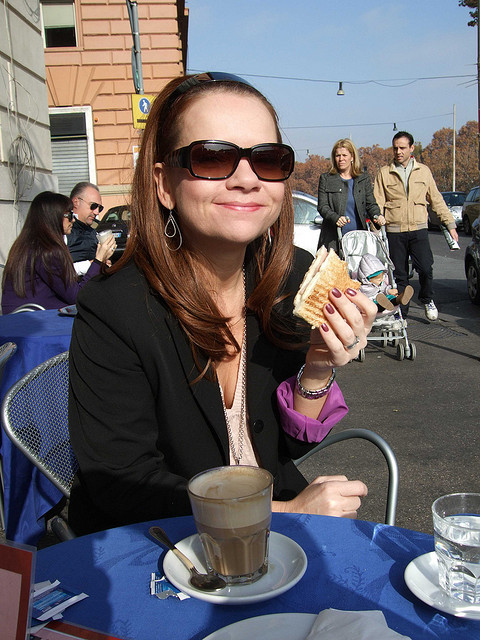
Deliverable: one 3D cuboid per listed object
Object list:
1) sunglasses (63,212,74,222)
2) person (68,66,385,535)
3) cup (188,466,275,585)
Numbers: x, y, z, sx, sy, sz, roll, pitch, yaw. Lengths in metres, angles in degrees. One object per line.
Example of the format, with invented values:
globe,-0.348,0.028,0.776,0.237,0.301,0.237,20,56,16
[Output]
sunglasses,-1.769,-1.061,5.348,0.108,0.081,0.114,2,7,37
person,-0.083,-0.068,1.534,0.828,1.340,0.610,-1,1,-19
cup,-0.009,0.354,0.978,0.179,0.164,0.149,-10,15,-39
